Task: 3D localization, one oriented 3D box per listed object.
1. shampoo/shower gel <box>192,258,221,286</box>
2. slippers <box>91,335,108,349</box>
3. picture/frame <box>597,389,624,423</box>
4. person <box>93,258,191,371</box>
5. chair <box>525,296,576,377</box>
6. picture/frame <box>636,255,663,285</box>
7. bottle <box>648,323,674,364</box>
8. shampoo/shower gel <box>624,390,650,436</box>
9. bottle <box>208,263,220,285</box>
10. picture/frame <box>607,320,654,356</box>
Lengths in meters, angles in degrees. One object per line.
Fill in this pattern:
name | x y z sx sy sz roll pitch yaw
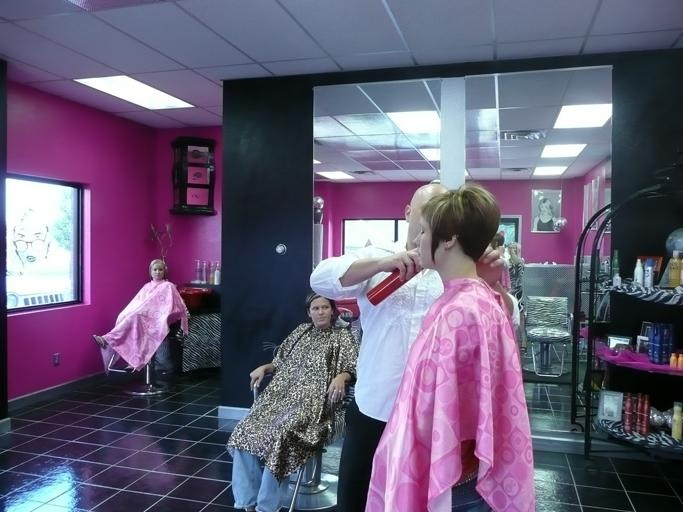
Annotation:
shampoo/shower gel | -1.695 0.190 6.249 0.284 0.282 0.097 -1 -10 8
slippers | -2.512 0.863 5.152 0.139 0.133 0.369 1 -16 -15
picture/frame | 2.036 1.134 3.744 0.180 0.278 0.021 3 -10 24
person | -2.153 0.616 5.263 0.661 1.242 0.896 -4 -10 26
chair | 1.680 0.640 4.026 0.358 0.671 0.600 -1 -6 14
picture/frame | 2.312 0.110 3.713 0.034 0.358 0.179 22 -17 -35
bottle | 2.274 0.617 3.521 0.147 0.271 0.114 4 7 34
shampoo/shower gel | 2.151 1.122 3.604 0.169 0.271 0.230 4 7 33
bottle | -1.599 0.212 6.221 0.120 0.270 0.218 -2 6 -25
picture/frame | 2.223 0.608 3.827 0.283 0.213 0.238 3 6 25
